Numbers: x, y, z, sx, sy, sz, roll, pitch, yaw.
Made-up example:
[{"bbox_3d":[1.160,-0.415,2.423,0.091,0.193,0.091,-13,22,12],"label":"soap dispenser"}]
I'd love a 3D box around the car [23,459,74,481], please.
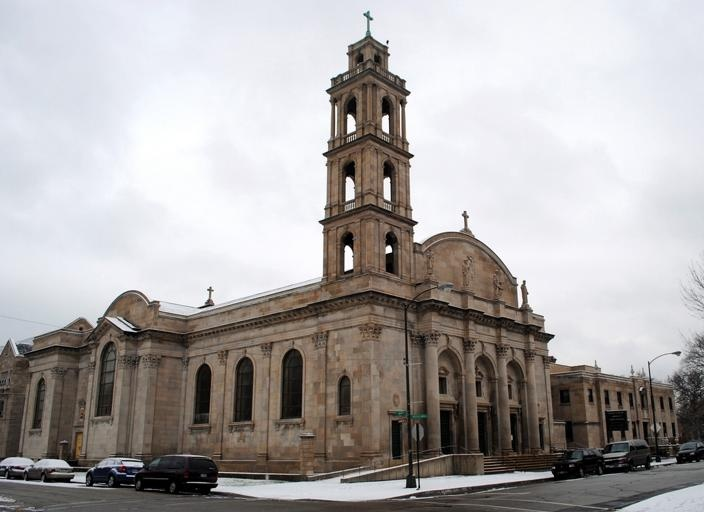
[{"bbox_3d":[-24.651,17.299,49.797,4.187,1.381,1.890,-12,-21,35],"label":"car"}]

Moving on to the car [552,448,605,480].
[{"bbox_3d":[17.486,15.953,47.513,5.164,2.318,1.660,15,-28,-34],"label":"car"}]

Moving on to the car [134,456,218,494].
[{"bbox_3d":[-11.643,14.308,40.570,5.016,2.319,1.524,-11,-24,21],"label":"car"}]

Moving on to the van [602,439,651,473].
[{"bbox_3d":[22.488,16.261,50.471,5.395,2.624,1.531,17,-29,-37],"label":"van"}]
